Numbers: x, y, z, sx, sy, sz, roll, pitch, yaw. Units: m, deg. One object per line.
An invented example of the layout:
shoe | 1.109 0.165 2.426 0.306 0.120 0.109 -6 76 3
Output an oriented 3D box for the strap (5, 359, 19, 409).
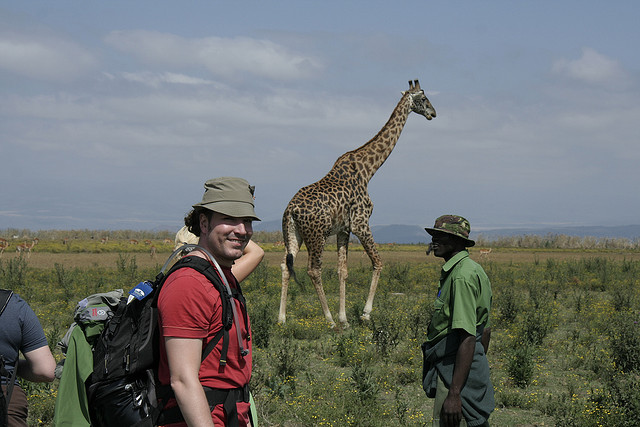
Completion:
strap | -3.757 2.100 7.414 0.110 0.418 0.010 0 -19 8

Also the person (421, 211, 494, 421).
person | 1.832 1.358 8.119 0.893 2.709 0.713 0 -3 19

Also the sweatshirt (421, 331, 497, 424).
sweatshirt | 1.805 2.130 7.980 0.923 1.183 0.474 1 -3 11
